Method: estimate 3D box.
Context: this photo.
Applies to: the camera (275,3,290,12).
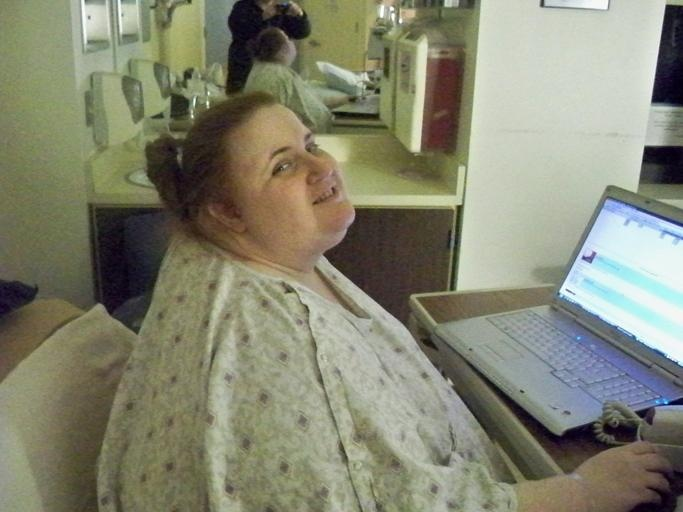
[{"bbox_3d":[-0.178,-0.758,1.738,0.030,0.010,0.029,-2,47,-3],"label":"camera"}]
